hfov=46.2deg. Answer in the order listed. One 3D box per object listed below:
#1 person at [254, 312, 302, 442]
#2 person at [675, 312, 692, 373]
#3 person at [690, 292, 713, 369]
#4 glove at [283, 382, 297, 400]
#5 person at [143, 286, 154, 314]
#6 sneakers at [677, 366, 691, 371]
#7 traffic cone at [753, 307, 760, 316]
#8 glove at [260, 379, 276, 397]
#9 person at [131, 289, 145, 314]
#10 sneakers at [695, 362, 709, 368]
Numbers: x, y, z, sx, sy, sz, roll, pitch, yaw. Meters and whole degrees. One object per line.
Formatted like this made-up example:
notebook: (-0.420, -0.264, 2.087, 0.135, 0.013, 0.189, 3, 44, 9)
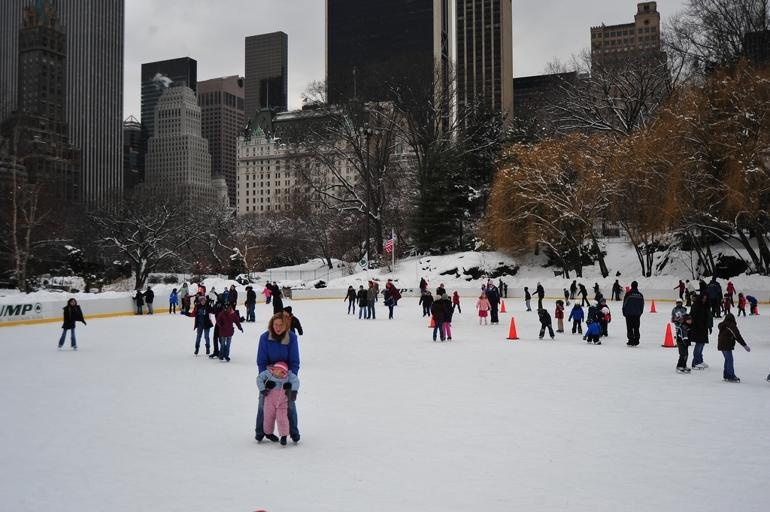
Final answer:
person: (-3.661, 4.095, 30.483, 1.491, 4.426, 0.732, -3, 12, -5)
person: (11.714, 3.371, 35.316, 0.568, 2.256, 0.504, -2, 12, 2)
person: (12.419, 2.903, 35.428, 0.719, 3.159, 1.206, 3, 13, 23)
glove: (-3.201, 4.538, 30.342, 0.504, 0.537, 0.180, -10, -10, -45)
person: (-13.593, 2.575, 51.766, 0.482, 1.576, 1.170, -6, 12, -18)
sneakers: (11.774, 4.429, 35.449, 0.535, 0.260, 0.198, -1, 12, 5)
traffic cone: (19.750, 2.907, 47.810, 0.223, 0.308, 0.807, -1, 14, 13)
glove: (-3.945, 4.407, 30.285, 0.439, 0.473, 0.150, 23, 1, -4)
person: (-14.113, 2.636, 51.564, 0.588, 1.354, 0.976, -4, 12, -8)
sneakers: (12.628, 4.319, 35.848, 0.581, 0.298, 0.225, -4, 8, -8)
